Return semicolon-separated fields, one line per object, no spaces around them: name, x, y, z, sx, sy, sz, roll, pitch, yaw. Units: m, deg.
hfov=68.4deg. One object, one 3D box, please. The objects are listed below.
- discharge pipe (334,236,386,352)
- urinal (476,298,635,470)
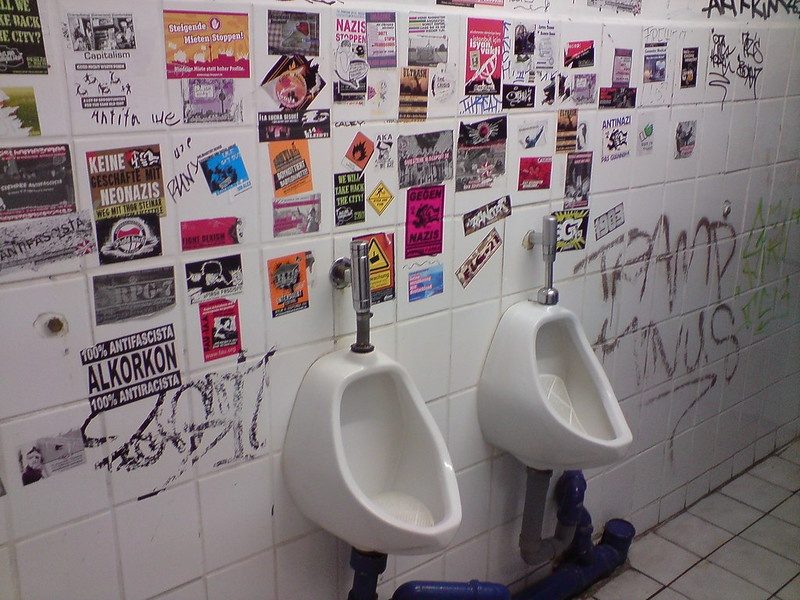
discharge pipe;-0.112;-0.013;1.356;0.094;0.276;0.137;-4;24;-3
urinal;0.459;0.270;1.736;0.389;0.477;0.428;3;18;0
